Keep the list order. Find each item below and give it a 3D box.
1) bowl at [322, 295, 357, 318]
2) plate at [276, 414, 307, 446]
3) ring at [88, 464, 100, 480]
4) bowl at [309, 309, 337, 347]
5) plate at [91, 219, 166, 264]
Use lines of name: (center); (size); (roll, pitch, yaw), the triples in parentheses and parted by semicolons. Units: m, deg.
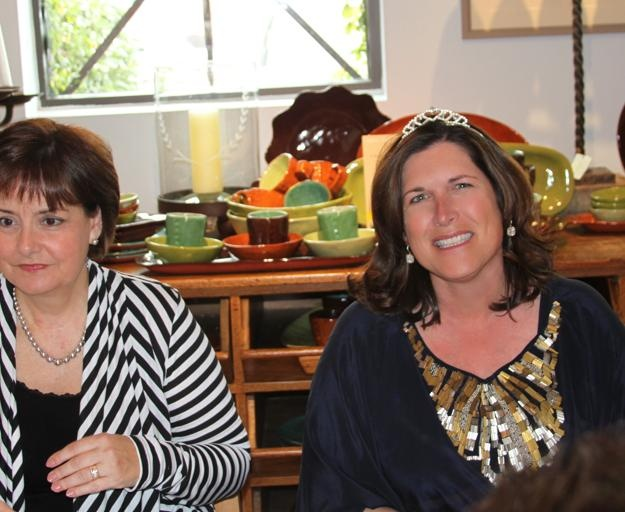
bowl: (0.064, 0.131, 1.738); (0.067, 0.050, 0.063); (0, 12, 0)
plate: (-0.059, 0.490, 1.778); (0.144, 0.036, 0.149); (0, 12, -1)
ring: (-0.390, 0.388, 1.137); (0.005, 0.019, 0.019); (-10, -6, 33)
bowl: (0.028, 0.188, 1.728); (0.083, 0.097, 0.086); (0, 7, 0)
plate: (-0.518, -0.063, 1.835); (0.132, 0.051, 0.135); (-18, 10, -4)
